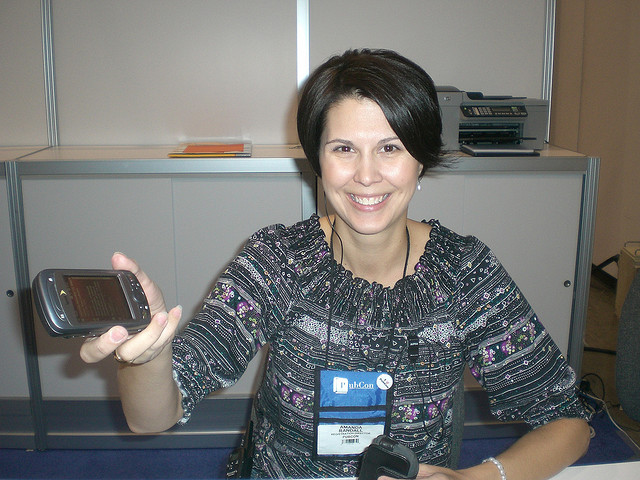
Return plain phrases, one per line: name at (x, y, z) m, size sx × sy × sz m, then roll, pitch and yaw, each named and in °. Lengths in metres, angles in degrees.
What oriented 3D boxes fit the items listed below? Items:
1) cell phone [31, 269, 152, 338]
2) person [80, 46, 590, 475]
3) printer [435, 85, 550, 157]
cell phone at (-0.487, 0.136, 1.147) m, size 0.056 × 0.142 × 0.238 m, roll -37°, pitch -20°, yaw 24°
person at (0.099, 0.084, 1.421) m, size 1.141 × 1.157 × 0.532 m, roll -3°, pitch 11°, yaw -4°
printer at (0.814, -0.568, 2.538) m, size 0.501 × 0.345 × 0.342 m, roll 2°, pitch 12°, yaw 19°
